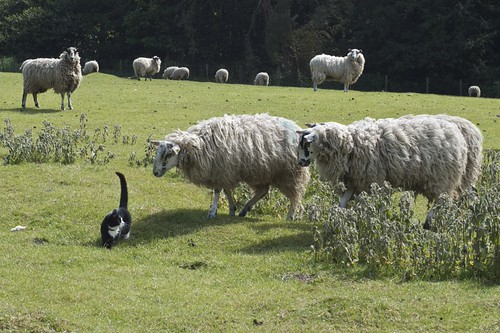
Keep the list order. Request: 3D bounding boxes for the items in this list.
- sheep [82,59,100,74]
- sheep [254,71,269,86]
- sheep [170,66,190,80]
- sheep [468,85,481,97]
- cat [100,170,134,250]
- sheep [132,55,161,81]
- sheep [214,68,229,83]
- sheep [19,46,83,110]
[{"bbox_3d":[-12.098,-7.449,55.541,0.865,1.364,2.208,-1,9,-25],"label":"sheep"},{"bbox_3d":[0.833,-6.228,52.529,0.926,0.840,0.818,4,4,11],"label":"sheep"},{"bbox_3d":[-4.986,-6.540,52.055,1.144,0.864,1.493,2,5,-13],"label":"sheep"},{"bbox_3d":[14.943,-4.932,48.548,0.636,0.682,1.494,4,5,14],"label":"sheep"},{"bbox_3d":[-4.009,1.491,22.137,0.618,1.951,1.899,15,19,-9],"label":"cat"},{"bbox_3d":[-6.889,-6.489,48.832,0.759,1.693,2.204,4,4,36],"label":"sheep"},{"bbox_3d":[-2.146,-6.698,54.584,0.654,1.050,1.729,0,11,-12],"label":"sheep"},{"bbox_3d":[-8.875,-3.938,32.733,3.052,2.909,1.412,2,9,14],"label":"sheep"}]
